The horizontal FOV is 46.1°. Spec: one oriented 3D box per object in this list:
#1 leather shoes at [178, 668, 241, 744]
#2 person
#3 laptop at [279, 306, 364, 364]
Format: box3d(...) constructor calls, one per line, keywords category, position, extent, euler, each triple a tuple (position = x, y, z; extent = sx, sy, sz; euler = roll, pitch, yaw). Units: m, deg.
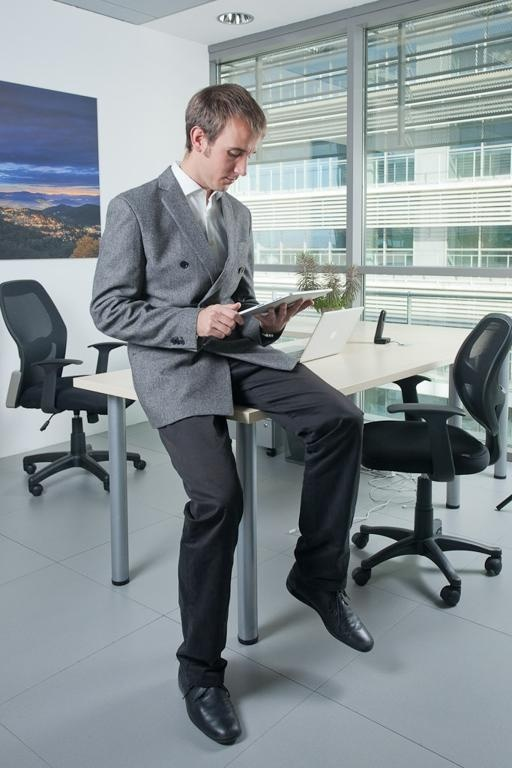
box3d(category="leather shoes", position=(-0.108, 0.733, 1.389), extent=(0.071, 0.071, 0.183), euler=(-1, 5, -25))
box3d(category="person", position=(-0.039, 0.024, 1.510), extent=(0.613, 1.509, 0.473), euler=(-6, 9, -36))
box3d(category="laptop", position=(0.201, -0.194, 2.286), extent=(0.279, 0.170, 0.298), euler=(6, 11, 37))
